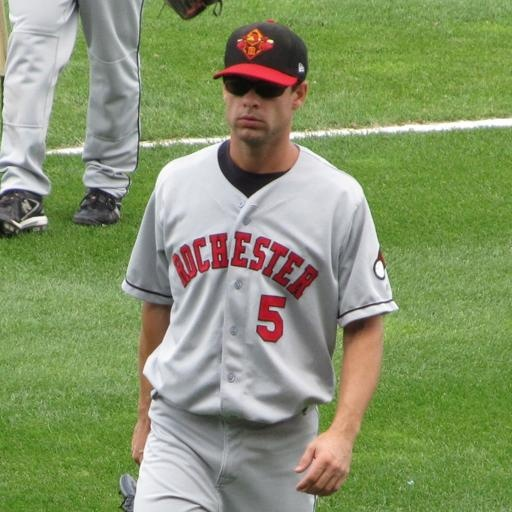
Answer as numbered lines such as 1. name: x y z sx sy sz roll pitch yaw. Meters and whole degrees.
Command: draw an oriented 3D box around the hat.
1. hat: 0.021 -0.663 3.323 0.203 0.169 0.279 9 8 27
